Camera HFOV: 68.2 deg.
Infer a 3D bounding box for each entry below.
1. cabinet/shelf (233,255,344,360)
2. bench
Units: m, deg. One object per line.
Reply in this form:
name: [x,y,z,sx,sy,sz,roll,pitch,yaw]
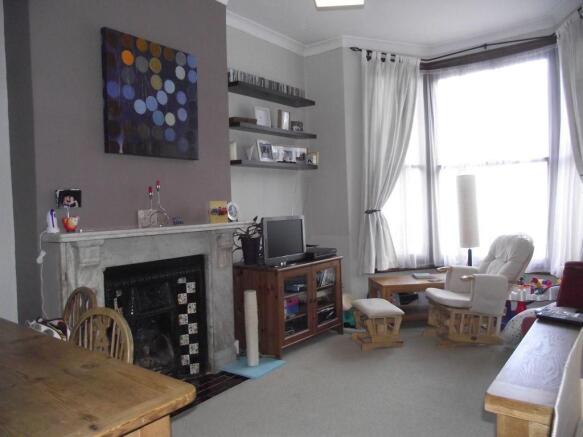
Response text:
cabinet/shelf: [-0.029,0.779,4.532,0.729,1.128,1.413,-1,2,33]
bench: [0.850,1.064,4.536,0.449,0.434,0.559,-2,8,-8]
